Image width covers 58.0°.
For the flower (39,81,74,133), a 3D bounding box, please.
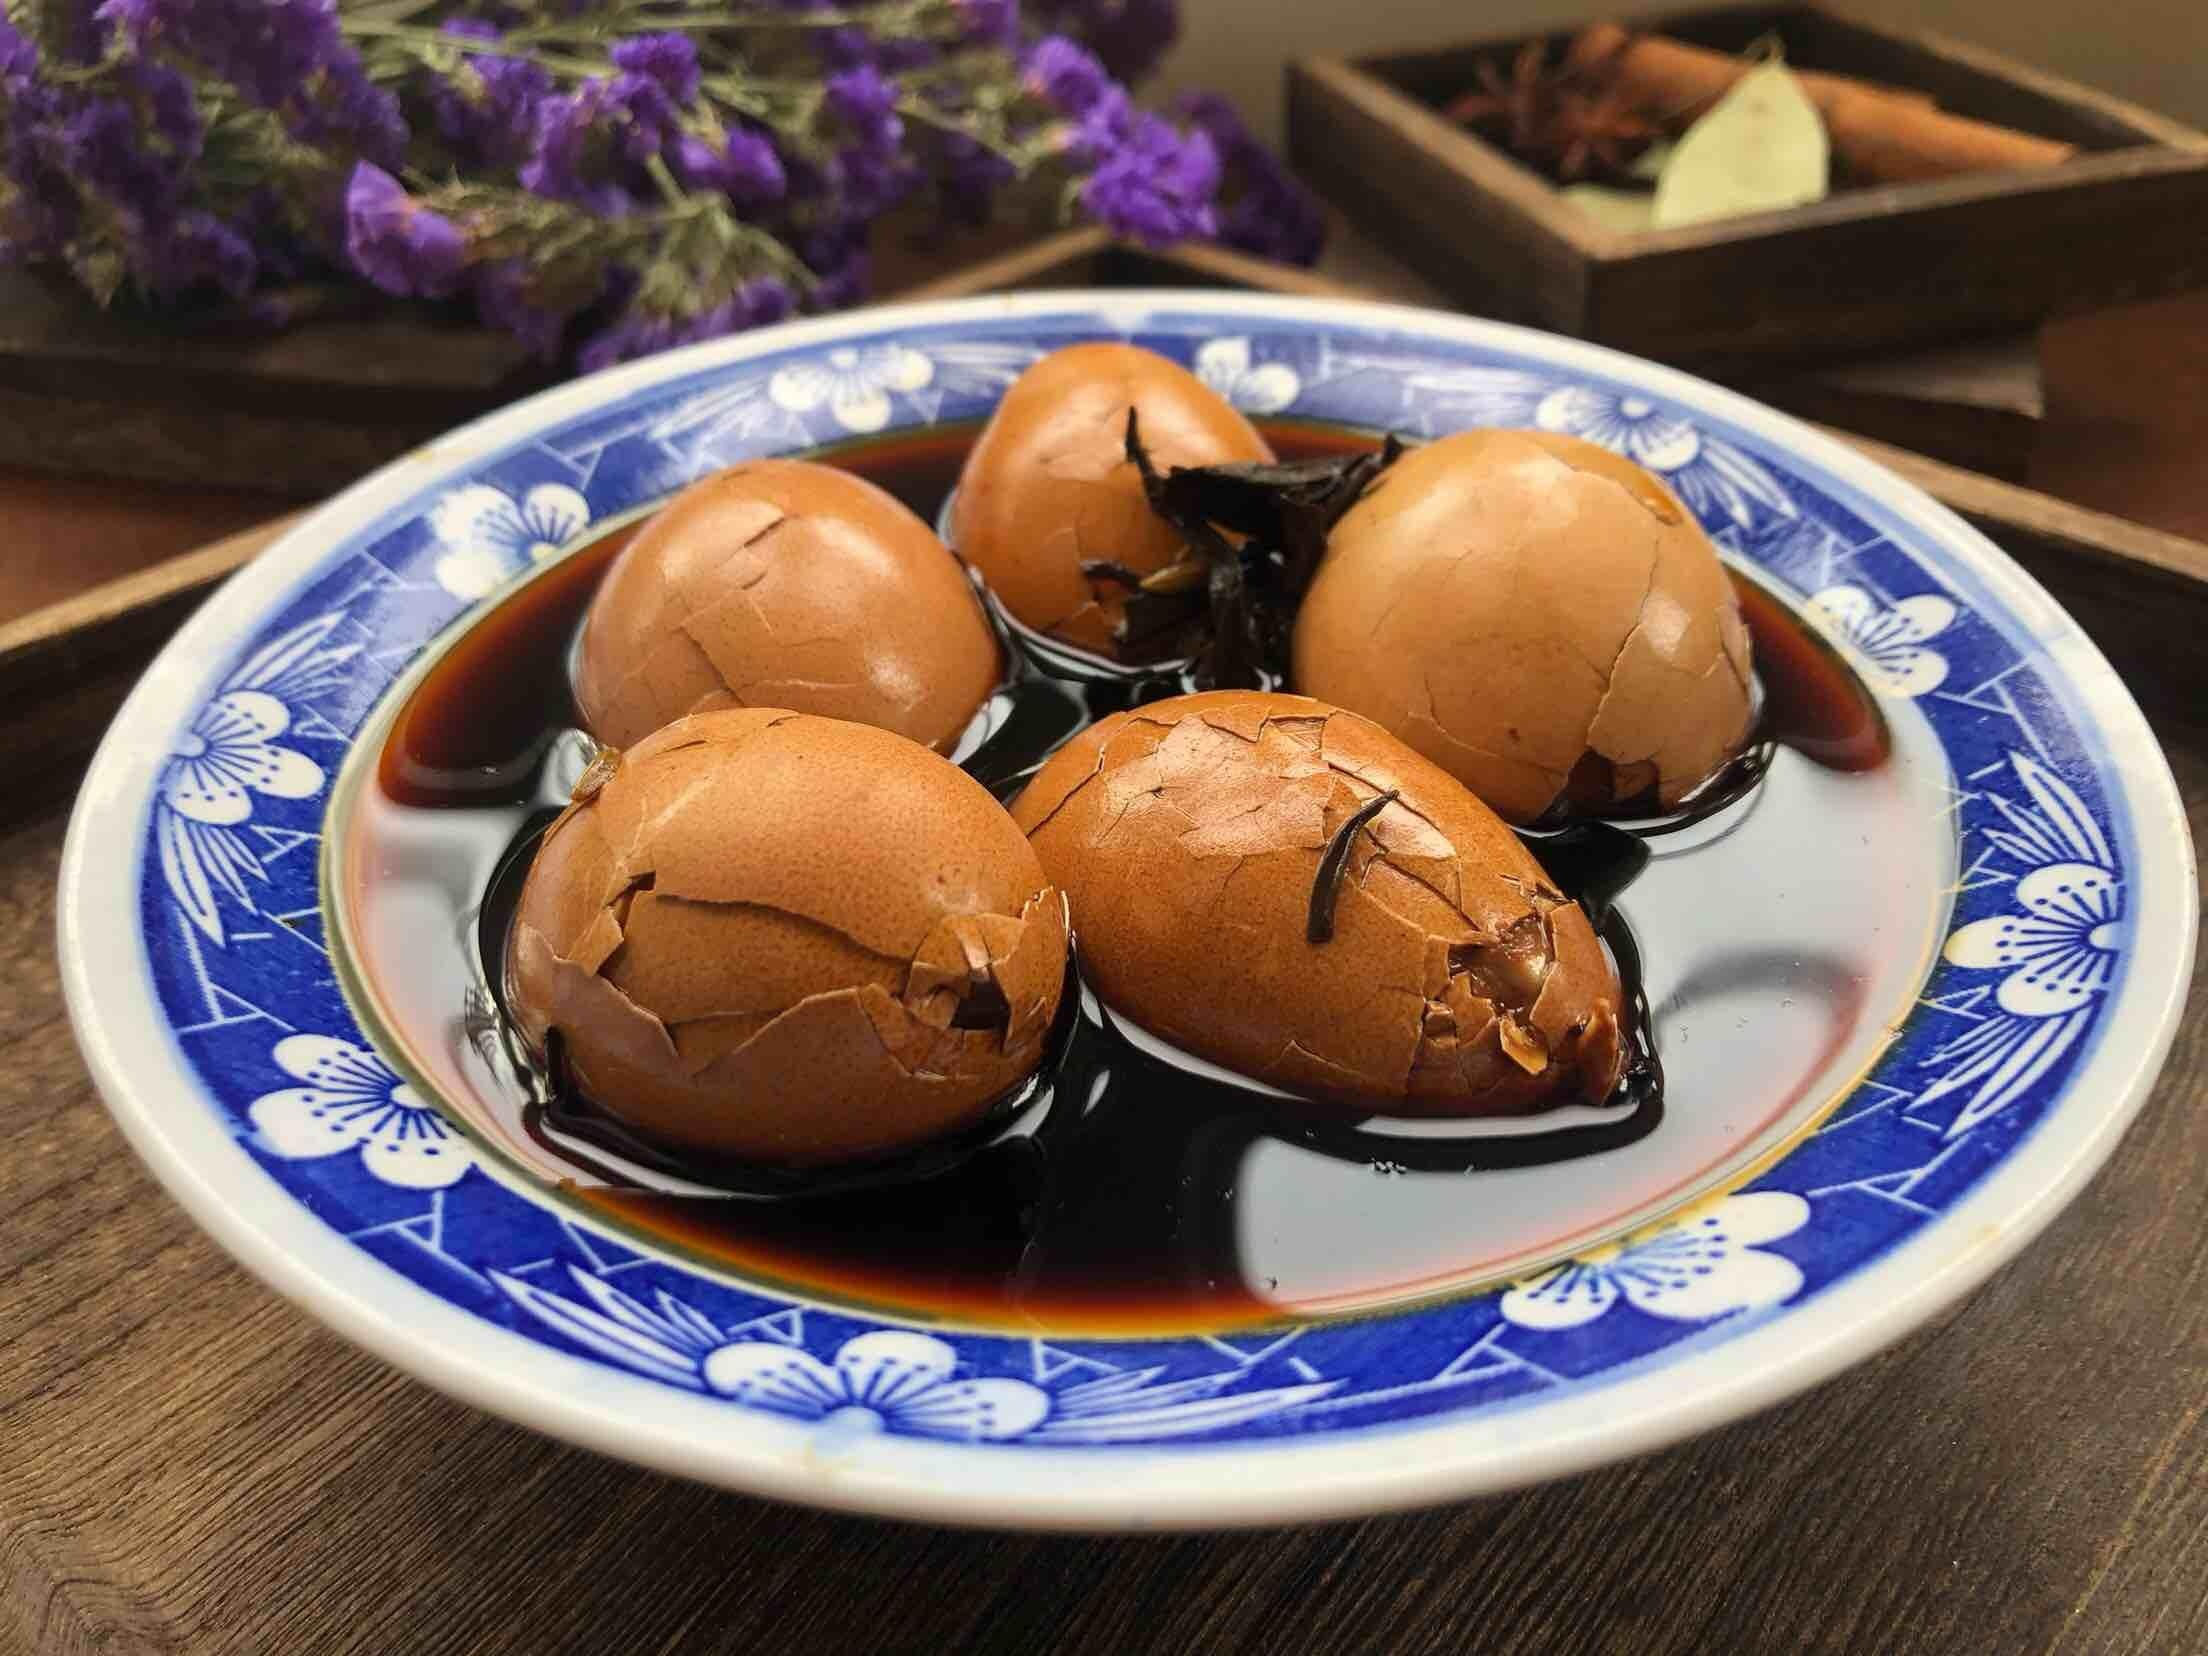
[{"bbox_3d":[-0.809,-0.552,1.530,0.033,0.011,0.029,-1,85,-13],"label":"flower"}]
